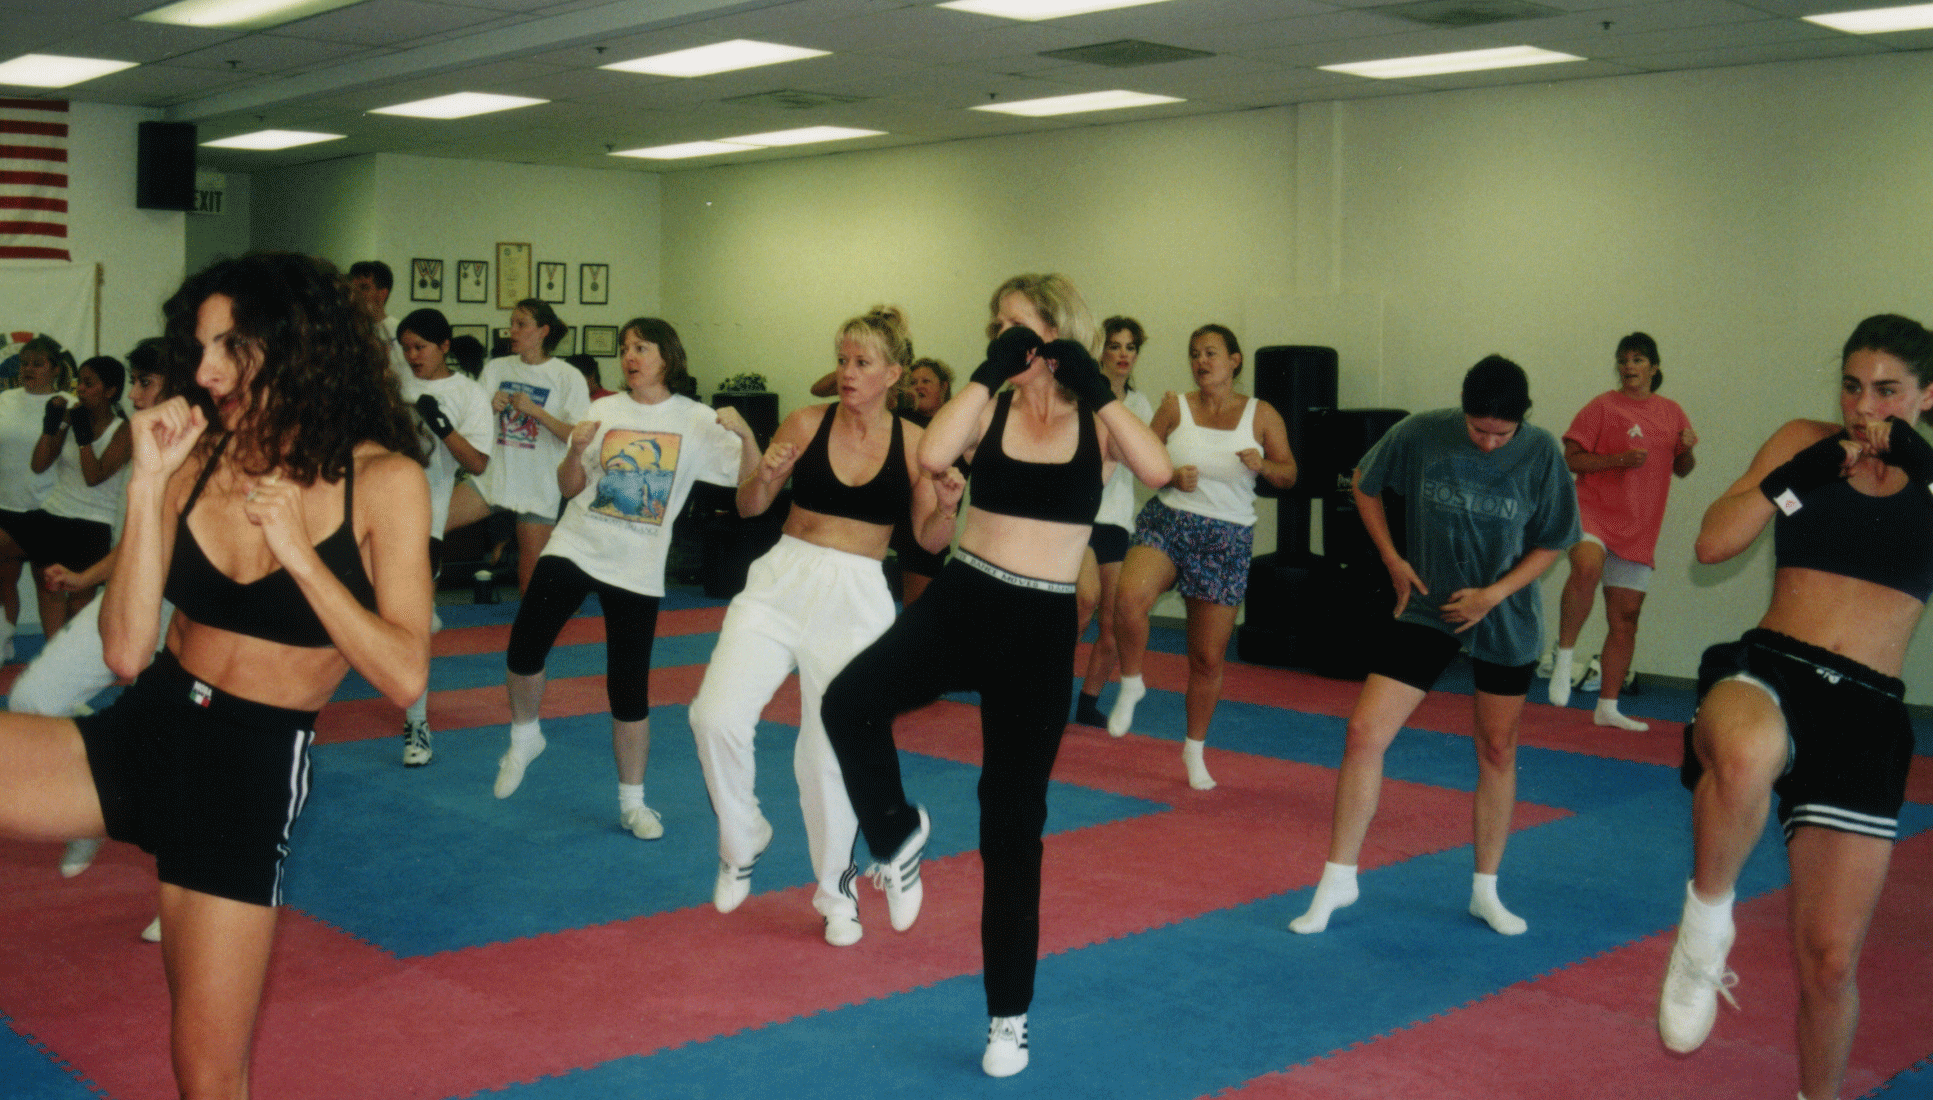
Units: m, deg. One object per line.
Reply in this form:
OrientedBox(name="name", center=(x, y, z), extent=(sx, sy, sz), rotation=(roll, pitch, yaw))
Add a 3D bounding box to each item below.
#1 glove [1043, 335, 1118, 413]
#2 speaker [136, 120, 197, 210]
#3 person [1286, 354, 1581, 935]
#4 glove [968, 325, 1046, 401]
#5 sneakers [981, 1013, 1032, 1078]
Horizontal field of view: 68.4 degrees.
OrientedBox(name="glove", center=(0.437, -0.676, 5.531), extent=(0.241, 0.274, 0.174), rotation=(-4, 12, -26))
OrientedBox(name="speaker", center=(-7.852, -3.756, 13.919), extent=(0.533, 0.870, 0.303), rotation=(-4, 13, -27))
OrientedBox(name="person", center=(2.206, 0.426, 6.589), extent=(1.099, 2.614, 0.808), rotation=(3, 12, 8))
OrientedBox(name="glove", center=(0.160, -0.714, 5.545), extent=(0.297, 0.261, 0.109), rotation=(-21, -37, 14))
OrientedBox(name="sneakers", center=(0.152, 1.899, 5.427), extent=(0.143, 0.149, 0.277), rotation=(-1, -8, 9))
